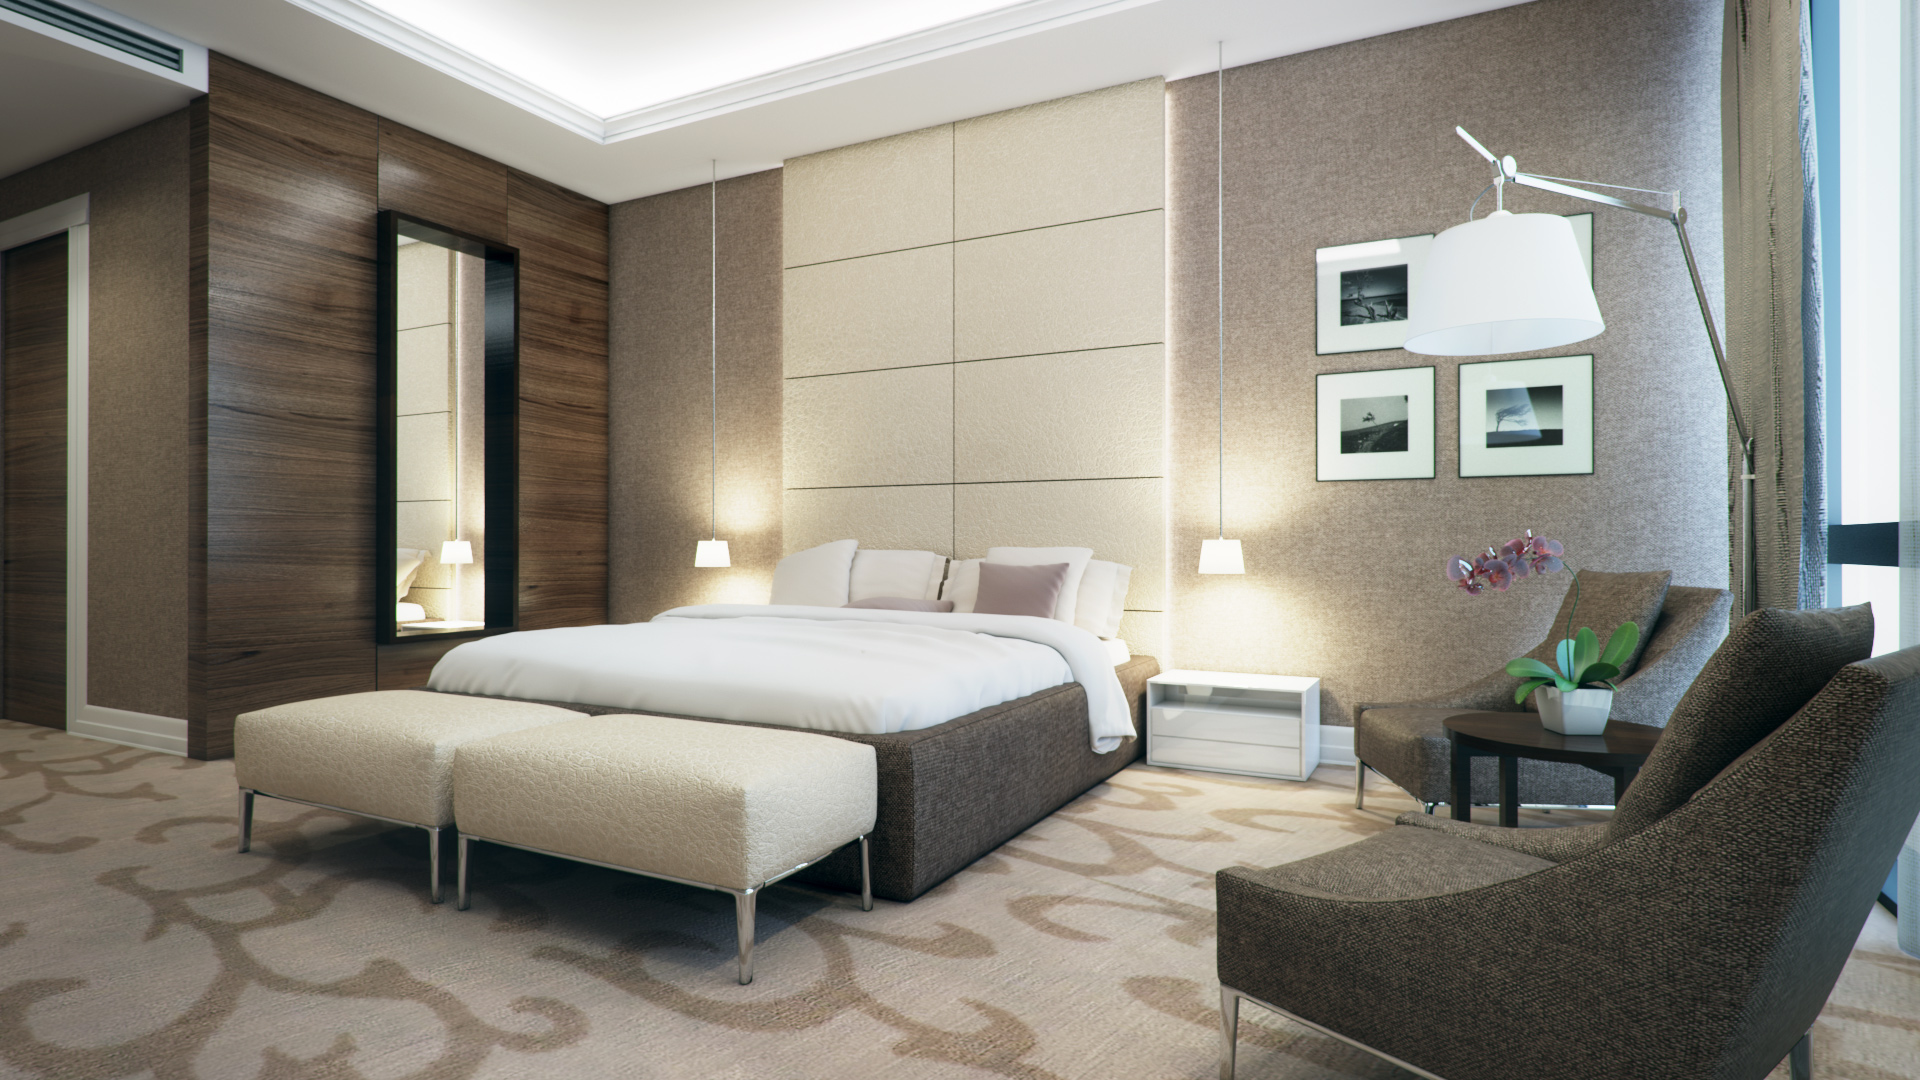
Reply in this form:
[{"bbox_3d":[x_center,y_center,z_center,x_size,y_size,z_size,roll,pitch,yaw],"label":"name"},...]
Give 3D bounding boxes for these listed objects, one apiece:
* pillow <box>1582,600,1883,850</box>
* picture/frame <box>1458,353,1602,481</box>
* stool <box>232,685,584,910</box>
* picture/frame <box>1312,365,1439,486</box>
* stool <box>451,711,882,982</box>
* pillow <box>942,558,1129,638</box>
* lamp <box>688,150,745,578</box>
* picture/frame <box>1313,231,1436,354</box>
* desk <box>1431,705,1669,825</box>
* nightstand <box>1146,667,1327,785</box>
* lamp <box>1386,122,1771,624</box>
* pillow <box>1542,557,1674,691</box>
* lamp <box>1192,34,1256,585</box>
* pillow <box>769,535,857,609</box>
[{"bbox_3d":[2.647,0.624,4.189,0.886,0.790,0.268,0,4,-1],"label":"pillow"},{"bbox_3d":[3.098,-0.663,6.963,0.022,0.629,0.785,-5,5,-37],"label":"picture/frame"},{"bbox_3d":[-2.535,0.936,5.833,1.631,0.622,0.976,0,-2,29],"label":"stool"},{"bbox_3d":[2.355,-0.646,7.203,0.017,0.636,0.799,-8,8,-36],"label":"picture/frame"},{"bbox_3d":[-1.091,0.992,5.455,1.835,0.700,1.125,0,-1,28],"label":"stool"},{"bbox_3d":[0.464,0.342,7.239,0.507,0.392,0.146,12,-8,40],"label":"pillow"},{"bbox_3d":[-1.736,-1.180,8.824,0.220,2.798,0.385,-1,4,-11],"label":"lamp"},{"bbox_3d":[2.338,-1.369,7.169,0.021,0.639,0.786,-19,19,-35],"label":"picture/frame"},{"bbox_3d":[2.507,1.115,5.918,1.069,0.534,1.044,-5,-4,8],"label":"desk"},{"bbox_3d":[1.488,1.027,6.990,1.209,0.553,0.579,-1,-3,22],"label":"nightstand"},{"bbox_3d":[3.044,-0.865,5.977,1.311,2.373,2.528,2,3,30],"label":"lamp"},{"bbox_3d":[3.310,0.406,6.143,0.183,0.526,0.610,29,4,-16],"label":"pillow"},{"bbox_3d":[1.545,-1.326,7.461,0.231,3.093,0.374,-1,4,-4],"label":"lamp"},{"bbox_3d":[-0.915,0.206,7.890,0.520,0.404,0.144,-2,-24,29],"label":"pillow"}]
